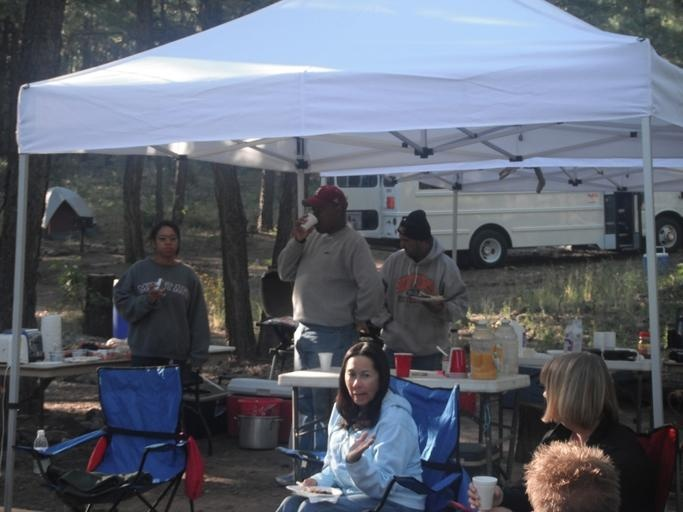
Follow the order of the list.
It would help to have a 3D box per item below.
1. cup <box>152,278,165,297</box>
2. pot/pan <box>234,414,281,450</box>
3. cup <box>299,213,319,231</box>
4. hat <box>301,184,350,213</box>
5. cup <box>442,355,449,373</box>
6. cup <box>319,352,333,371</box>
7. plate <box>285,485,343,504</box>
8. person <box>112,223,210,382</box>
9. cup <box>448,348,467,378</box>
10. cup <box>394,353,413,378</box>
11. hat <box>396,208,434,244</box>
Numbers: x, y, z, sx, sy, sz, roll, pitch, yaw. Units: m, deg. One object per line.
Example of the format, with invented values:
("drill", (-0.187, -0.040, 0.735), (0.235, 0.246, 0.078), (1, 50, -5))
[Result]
("cup", (-1.823, 0.296, 11.914), (0.114, 0.179, 0.241), (0, -3, -10))
("pot/pan", (-0.898, 1.850, 12.818), (0.379, 0.308, 0.361), (2, -1, 0))
("cup", (-0.319, -0.326, 11.601), (0.154, 0.162, 0.107), (0, -3, -1))
("hat", (-0.167, -0.561, 11.662), (0.336, 0.194, 0.224), (0, -2, -16))
("cup", (0.981, 1.015, 11.462), (0.114, 0.172, 0.120), (1, -6, 0))
("cup", (-0.168, 0.963, 11.203), (0.132, 0.149, 0.139), (1, -3, 0))
("plate", (-0.225, 1.916, 9.834), (0.434, 0.142, 0.316), (0, -4, 0))
("person", (-1.805, 0.567, 12.065), (0.942, 1.070, 0.499), (0, -3, -12))
("cup", (1.040, 0.939, 10.927), (0.170, 0.254, 0.180), (0, -3, 0))
("cup", (0.555, 0.979, 11.019), (0.176, 0.192, 0.185), (0, -5, 0))
("hat", (0.734, -0.293, 12.147), (0.290, 0.251, 0.294), (1, 3, 10))
